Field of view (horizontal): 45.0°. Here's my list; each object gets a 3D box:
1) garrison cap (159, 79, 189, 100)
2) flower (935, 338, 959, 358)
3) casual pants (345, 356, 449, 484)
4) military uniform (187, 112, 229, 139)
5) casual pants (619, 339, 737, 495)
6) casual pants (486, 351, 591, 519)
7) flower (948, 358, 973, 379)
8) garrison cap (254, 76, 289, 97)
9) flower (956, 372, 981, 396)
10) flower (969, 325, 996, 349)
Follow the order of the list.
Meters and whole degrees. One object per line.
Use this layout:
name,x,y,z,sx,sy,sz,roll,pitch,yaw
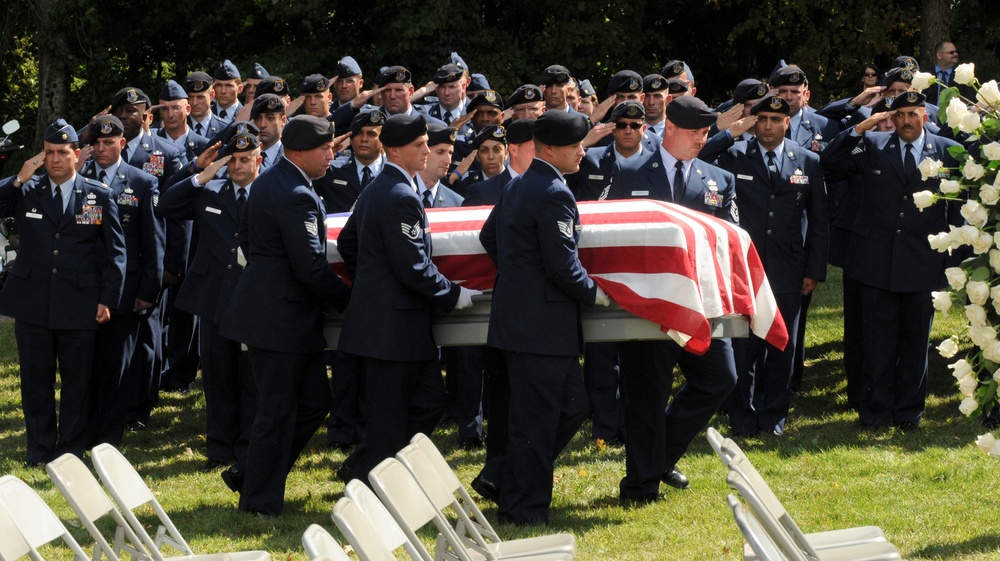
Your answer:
garrison cap,-4.133,-2.433,15.237,0.275,0.185,0.332,-1,9,-2
flower,3.682,0.541,9.948,0.126,0.180,0.382,0,6,25
casual pants,-1.092,1.319,12.062,1.021,1.368,0.551,-4,22,-15
military uniform,-3.718,-1.961,15.219,0.731,0.241,0.194,1,40,1
casual pants,1.730,1.177,12.398,1.397,1.886,0.630,-4,-1,-15
casual pants,0.328,1.327,11.958,1.008,1.990,0.881,2,5,8
flower,3.756,0.705,9.922,0.166,0.137,0.057,-38,6,4
garrison cap,-2.765,-2.359,14.615,0.284,0.146,0.402,3,5,32
flower,3.801,0.847,9.901,0.194,0.142,0.142,-9,4,-40
flower,3.907,0.434,9.800,0.179,0.197,0.104,-38,14,4
